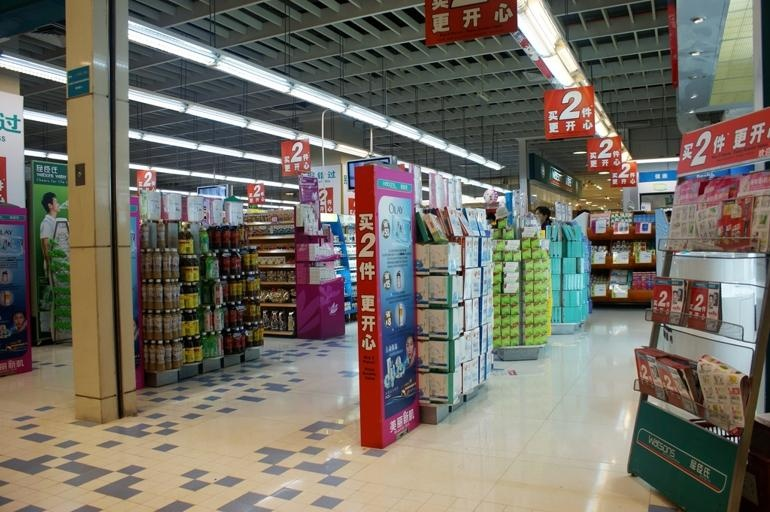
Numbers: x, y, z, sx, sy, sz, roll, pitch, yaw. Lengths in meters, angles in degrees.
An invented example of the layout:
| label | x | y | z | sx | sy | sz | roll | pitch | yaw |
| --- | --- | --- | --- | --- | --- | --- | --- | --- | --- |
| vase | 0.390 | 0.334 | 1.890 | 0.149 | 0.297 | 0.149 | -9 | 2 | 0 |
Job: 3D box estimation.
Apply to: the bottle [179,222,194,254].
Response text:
| label | x | y | z | sx | sy | sz | roll | pitch | yaw |
| --- | --- | --- | --- | --- | --- | --- | --- | --- | --- |
| bottle | -2.867 | -0.265 | 7.867 | 0.170 | 0.460 | 0.218 | -3 | 9 | -13 |

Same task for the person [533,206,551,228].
| label | x | y | z | sx | sy | sz | roll | pitch | yaw |
| --- | --- | --- | --- | --- | --- | --- | --- | --- | --- |
| person | 3.179 | -0.821 | 10.928 | 0.204 | 0.398 | 1.589 | 2 | 9 | 19 |

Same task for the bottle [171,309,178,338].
| label | x | y | z | sx | sy | sz | roll | pitch | yaw |
| --- | --- | --- | --- | --- | --- | --- | --- | --- | --- |
| bottle | -2.897 | 0.947 | 7.588 | 0.036 | 0.373 | 0.133 | 4 | 10 | 30 |

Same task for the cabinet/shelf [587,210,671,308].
| label | x | y | z | sx | sy | sz | roll | pitch | yaw |
| --- | --- | --- | --- | --- | --- | --- | --- | --- | --- |
| cabinet/shelf | 6.031 | 0.085 | 13.143 | 1.197 | 2.191 | 2.319 | 2 | -2 | -21 |

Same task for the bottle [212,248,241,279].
| label | x | y | z | sx | sy | sz | roll | pitch | yaw |
| --- | --- | --- | --- | --- | --- | --- | --- | --- | --- |
| bottle | -2.377 | 0.103 | 8.287 | 0.395 | 0.662 | 0.387 | 0 | -4 | 0 |

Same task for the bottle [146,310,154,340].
| label | x | y | z | sx | sy | sz | roll | pitch | yaw |
| --- | --- | --- | --- | --- | --- | --- | --- | --- | --- |
| bottle | -3.239 | 0.959 | 7.522 | 0.152 | 0.381 | 0.041 | 2 | 9 | 21 |

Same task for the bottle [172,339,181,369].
| label | x | y | z | sx | sy | sz | roll | pitch | yaw |
| --- | --- | --- | --- | --- | --- | --- | --- | --- | --- |
| bottle | -2.915 | 1.365 | 7.688 | 0.069 | 0.407 | 0.174 | 1 | 9 | 15 |

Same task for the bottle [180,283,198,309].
| label | x | y | z | sx | sy | sz | roll | pitch | yaw |
| --- | --- | --- | --- | --- | --- | --- | --- | --- | --- |
| bottle | -2.794 | 0.572 | 7.783 | 0.240 | 0.349 | 0.133 | -5 | 9 | -27 |

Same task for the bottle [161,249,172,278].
| label | x | y | z | sx | sy | sz | roll | pitch | yaw |
| --- | --- | --- | --- | --- | --- | --- | --- | --- | --- |
| bottle | -3.005 | 0.107 | 7.533 | 0.125 | 0.389 | 0.106 | -3 | 9 | -11 |

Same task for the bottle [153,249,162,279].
| label | x | y | z | sx | sy | sz | roll | pitch | yaw |
| --- | --- | --- | --- | --- | --- | --- | --- | --- | --- |
| bottle | -3.111 | 0.105 | 7.491 | 0.104 | 0.388 | 0.102 | -1 | 8 | 0 |

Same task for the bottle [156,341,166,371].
| label | x | y | z | sx | sy | sz | roll | pitch | yaw |
| --- | --- | --- | --- | --- | --- | --- | --- | --- | --- |
| bottle | -3.089 | 1.383 | 7.549 | 0.125 | 0.390 | 0.025 | -5 | 9 | -24 |

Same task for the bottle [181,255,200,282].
| label | x | y | z | sx | sy | sz | roll | pitch | yaw |
| --- | --- | --- | --- | --- | --- | --- | --- | --- | --- |
| bottle | -2.795 | 0.174 | 7.795 | 0.246 | 0.385 | 0.124 | -5 | 9 | -24 |

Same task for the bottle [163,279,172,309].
| label | x | y | z | sx | sy | sz | roll | pitch | yaw |
| --- | --- | --- | --- | --- | --- | --- | --- | --- | --- |
| bottle | -2.982 | 0.536 | 7.502 | 0.096 | 0.361 | 0.056 | -3 | 9 | -14 |

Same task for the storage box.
| label | x | y | z | sx | sy | sz | roll | pitch | yaw |
| --- | --- | --- | --- | --- | --- | --- | --- | --- | --- |
| storage box | 0.787 | 0.728 | 6.496 | 0.933 | 2.902 | 2.572 | -1 | 2 | 13 |

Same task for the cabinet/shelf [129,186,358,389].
| label | x | y | z | sx | sy | sz | roll | pitch | yaw |
| --- | --- | --- | --- | --- | --- | --- | --- | --- | --- |
| cabinet/shelf | -2.254 | 0.610 | 8.880 | 1.152 | 3.003 | 3.256 | 0 | 4 | 19 |
